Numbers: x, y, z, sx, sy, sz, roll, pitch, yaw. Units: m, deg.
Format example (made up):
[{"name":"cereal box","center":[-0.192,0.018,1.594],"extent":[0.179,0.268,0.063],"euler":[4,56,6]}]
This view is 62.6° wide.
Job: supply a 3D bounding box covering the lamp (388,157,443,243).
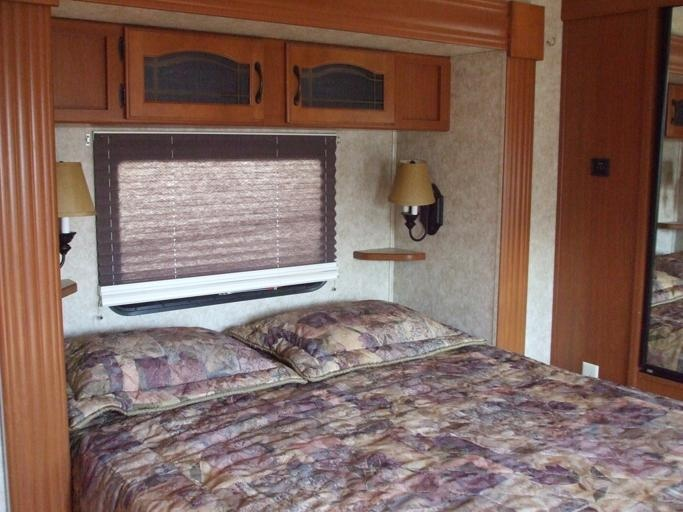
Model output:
[{"name":"lamp","center":[0.432,-0.309,3.274],"extent":[0.290,0.498,0.341],"euler":[5,16,24]}]
